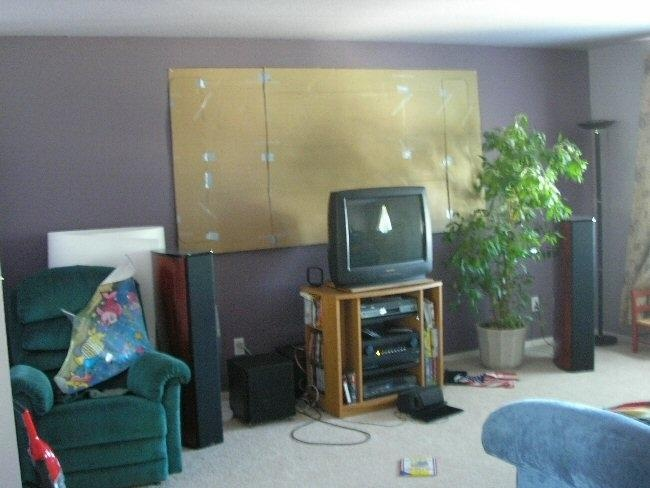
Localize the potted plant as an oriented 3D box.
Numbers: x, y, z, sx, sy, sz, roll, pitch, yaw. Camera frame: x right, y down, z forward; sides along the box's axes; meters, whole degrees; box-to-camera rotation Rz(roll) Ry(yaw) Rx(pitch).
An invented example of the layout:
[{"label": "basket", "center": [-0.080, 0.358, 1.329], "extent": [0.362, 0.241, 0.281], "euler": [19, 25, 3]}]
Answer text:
[{"label": "potted plant", "center": [1.601, -0.045, 4.959], "extent": [1.230, 2.116, 0.728], "euler": [-6, 6, -21]}]

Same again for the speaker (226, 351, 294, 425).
[{"label": "speaker", "center": [-0.497, 0.998, 4.170], "extent": [0.443, 0.460, 0.436], "euler": [-1, -1, -21]}]

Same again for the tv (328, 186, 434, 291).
[{"label": "tv", "center": [0.533, -0.028, 4.418], "extent": [0.783, 0.720, 0.455], "euler": [-5, -4, 30]}]

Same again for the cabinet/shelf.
[{"label": "cabinet/shelf", "center": [0.419, 0.765, 4.383], "extent": [0.865, 0.866, 0.476], "euler": [-4, 3, -22]}]

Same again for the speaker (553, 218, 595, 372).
[{"label": "speaker", "center": [2.029, 0.411, 4.738], "extent": [0.324, 1.218, 0.262], "euler": [-2, 6, 22]}]
